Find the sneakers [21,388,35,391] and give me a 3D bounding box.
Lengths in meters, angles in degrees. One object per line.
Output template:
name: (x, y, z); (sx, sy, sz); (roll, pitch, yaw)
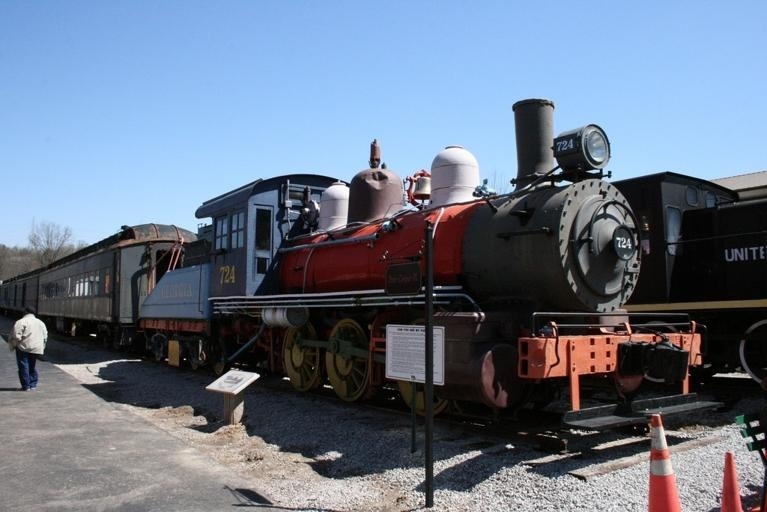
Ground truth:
sneakers: (-8.023, 3.008, 12.808); (0.135, 0.051, 0.097); (2, -4, -2)
